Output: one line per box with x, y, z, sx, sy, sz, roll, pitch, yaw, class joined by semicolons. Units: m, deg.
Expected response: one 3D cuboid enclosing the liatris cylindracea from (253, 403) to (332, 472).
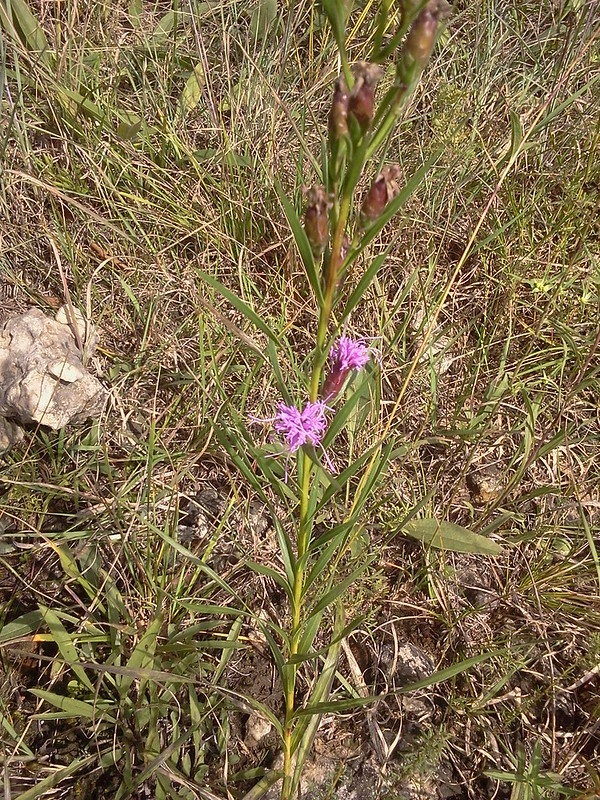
0.001;0.046;1.020;0.042;0.113;0.114;-8;105;-27;liatris cylindracea
